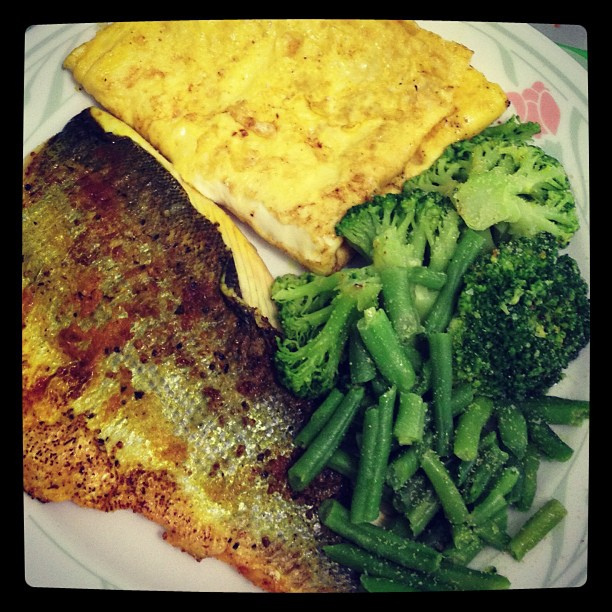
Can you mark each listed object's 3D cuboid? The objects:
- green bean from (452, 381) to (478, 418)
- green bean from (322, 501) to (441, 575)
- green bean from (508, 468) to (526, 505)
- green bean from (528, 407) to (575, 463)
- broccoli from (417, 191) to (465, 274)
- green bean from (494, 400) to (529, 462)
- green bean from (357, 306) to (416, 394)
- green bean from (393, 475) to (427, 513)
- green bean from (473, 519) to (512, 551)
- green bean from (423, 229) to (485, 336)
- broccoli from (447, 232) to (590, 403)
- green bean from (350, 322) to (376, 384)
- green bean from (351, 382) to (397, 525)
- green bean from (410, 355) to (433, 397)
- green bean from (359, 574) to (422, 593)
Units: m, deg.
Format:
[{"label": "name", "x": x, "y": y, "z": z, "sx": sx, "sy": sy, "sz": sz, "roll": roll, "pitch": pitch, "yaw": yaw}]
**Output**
[{"label": "green bean", "x": 0.610, "y": 0.379, "z": 2.800, "sx": 0.085, "sy": 0.155, "sz": 0.051, "roll": 39, "pitch": -5, "yaw": -5}, {"label": "green bean", "x": 0.206, "y": 0.914, "z": 2.740, "sx": 0.653, "sy": 0.166, "sz": 0.158, "roll": 21, "pitch": -19, "yaw": 9}, {"label": "green bean", "x": 0.833, "y": 0.716, "z": 2.752, "sx": 0.085, "sy": 0.127, "sz": 0.029, "roll": 22, "pitch": 3, "yaw": -45}, {"label": "green bean", "x": 0.942, "y": 0.516, "z": 2.779, "sx": 0.307, "sy": 0.104, "sz": 0.080, "roll": 44, "pitch": 4, "yaw": -11}, {"label": "broccoli", "x": 0.496, "y": -0.293, "z": 2.803, "sx": 0.254, "sy": 0.323, "sz": 0.114, "roll": 16, "pitch": -6, "yaw": -44}, {"label": "green bean", "x": 0.813, "y": 0.493, "z": 2.728, "sx": 0.150, "sy": 0.218, "sz": 0.063, "roll": -4, "pitch": -6, "yaw": 5}, {"label": "green bean", "x": 0.312, "y": 0.171, "z": 2.734, "sx": 0.140, "sy": 0.412, "sz": 0.141, "roll": -31, "pitch": 5, "yaw": 15}, {"label": "green bean", "x": 0.409, "y": 0.726, "z": 2.678, "sx": 0.169, "sy": 0.092, "sz": 0.059, "roll": -35, "pitch": 9, "yaw": -17}, {"label": "green bean", "x": 0.725, "y": 0.900, "z": 2.755, "sx": 0.180, "sy": 0.090, "sz": 0.056, "roll": 32, "pitch": 0, "yaw": -14}, {"label": "green bean", "x": 0.584, "y": -0.089, "z": 2.797, "sx": 0.130, "sy": 0.571, "sz": 0.111, "roll": 26, "pitch": -3, "yaw": 14}, {"label": "broccoli", "x": 0.826, "y": 0.026, "z": 2.843, "sx": 0.667, "sy": 0.617, "sz": 0.295, "roll": -2, "pitch": 9, "yaw": -4}, {"label": "green bean", "x": 0.238, "y": 0.195, "z": 2.765, "sx": 0.123, "sy": 0.212, "sz": 0.083, "roll": -10, "pitch": 6, "yaw": 19}, {"label": "green bean", "x": 0.247, "y": 0.576, "z": 2.706, "sx": 0.147, "sy": 0.508, "sz": 0.110, "roll": 10, "pitch": -2, "yaw": 2}, {"label": "green bean", "x": 0.463, "y": 0.274, "z": 2.722, "sx": 0.068, "sy": 0.157, "sz": 0.059, "roll": 33, "pitch": -17, "yaw": -26}, {"label": "green bean", "x": 0.330, "y": 1.070, "z": 2.674, "sx": 0.247, "sy": 0.060, "sz": 0.044, "roll": 9, "pitch": -5, "yaw": -18}]
